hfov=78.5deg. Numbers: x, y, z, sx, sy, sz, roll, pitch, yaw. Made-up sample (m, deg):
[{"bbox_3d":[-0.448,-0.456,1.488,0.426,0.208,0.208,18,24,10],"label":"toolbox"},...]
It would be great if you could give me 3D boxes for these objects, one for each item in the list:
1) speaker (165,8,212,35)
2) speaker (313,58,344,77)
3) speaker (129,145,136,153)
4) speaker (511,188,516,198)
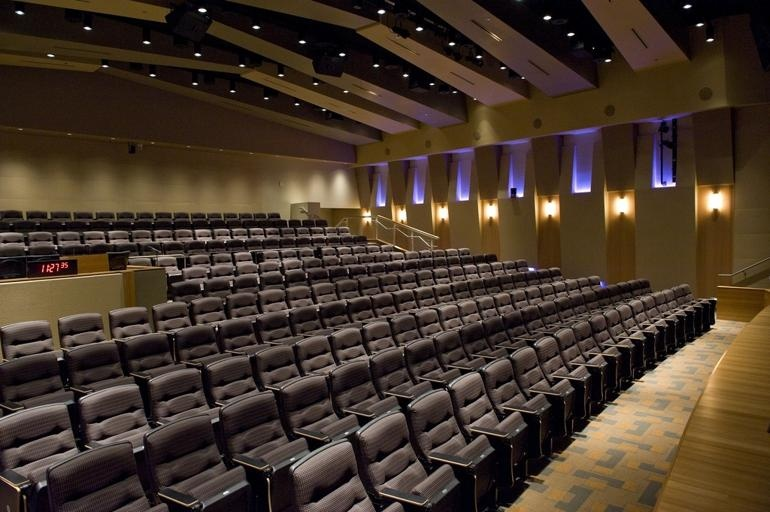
[{"bbox_3d":[-3.826,-4.529,9.216,0.671,0.434,0.461,-2,-16,-45],"label":"speaker"},{"bbox_3d":[-1.441,-4.785,11.902,0.707,0.372,0.470,-3,-12,-22],"label":"speaker"},{"bbox_3d":[-7.628,-3.207,14.206,0.168,0.264,0.197,-5,1,-30],"label":"speaker"},{"bbox_3d":[4.158,-2.057,15.266,0.194,0.261,0.135,-4,1,15],"label":"speaker"}]
